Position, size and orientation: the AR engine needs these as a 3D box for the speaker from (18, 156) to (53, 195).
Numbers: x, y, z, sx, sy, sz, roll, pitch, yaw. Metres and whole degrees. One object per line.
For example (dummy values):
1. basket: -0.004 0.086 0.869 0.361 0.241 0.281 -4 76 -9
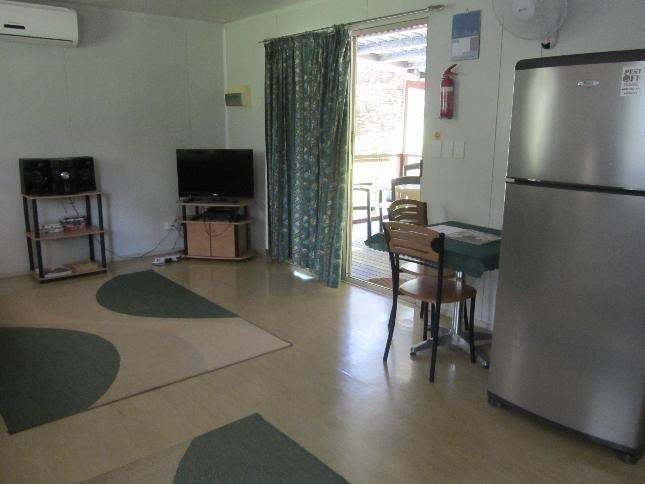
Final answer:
1. speaker: -3.033 -0.634 5.472 0.231 0.425 0.325 -4 -20 -24

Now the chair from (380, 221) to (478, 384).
1. chair: 0.825 0.397 3.908 0.629 1.146 0.671 8 19 33

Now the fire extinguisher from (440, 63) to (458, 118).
1. fire extinguisher: 1.067 -1.290 4.354 0.111 0.449 0.093 -7 14 -27

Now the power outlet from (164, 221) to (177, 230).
1. power outlet: -1.971 -0.219 6.621 0.172 0.115 0.092 -5 49 -23

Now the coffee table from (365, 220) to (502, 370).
1. coffee table: 1.025 0.311 4.181 1.159 0.957 1.098 -9 12 -43

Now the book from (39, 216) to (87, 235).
1. book: -2.878 -0.206 5.714 0.463 0.143 0.372 -6 13 -26

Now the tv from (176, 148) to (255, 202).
1. tv: -1.305 -0.841 6.232 0.987 0.604 0.020 -6 13 -33

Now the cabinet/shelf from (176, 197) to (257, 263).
1. cabinet/shelf: -1.371 -0.153 6.420 0.866 0.700 0.448 1 9 -2

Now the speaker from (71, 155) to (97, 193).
1. speaker: -2.655 -0.793 5.700 0.285 0.386 0.281 22 32 29

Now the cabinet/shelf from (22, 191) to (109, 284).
1. cabinet/shelf: -2.905 -0.050 5.698 0.911 1.231 0.624 -5 11 -40
